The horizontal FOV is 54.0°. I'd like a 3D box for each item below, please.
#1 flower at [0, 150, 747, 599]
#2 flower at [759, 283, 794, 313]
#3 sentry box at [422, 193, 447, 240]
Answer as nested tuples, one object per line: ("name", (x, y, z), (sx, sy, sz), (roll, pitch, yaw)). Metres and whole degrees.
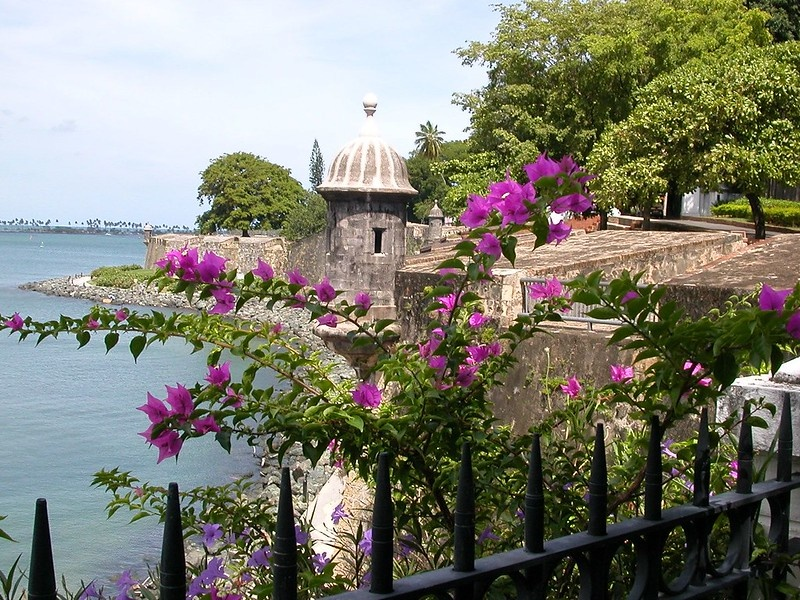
("flower", (-0.125, 0.252, 3.021), (2.117, 1.484, 1.159), (0, 1, 17))
("flower", (1.194, -0.007, 2.503), (0.095, 0.084, 0.195), (0, 1, 28))
("sentry box", (1.860, -4.135, 41.170), (0.865, 2.131, 0.940), (0, 5, 16))
